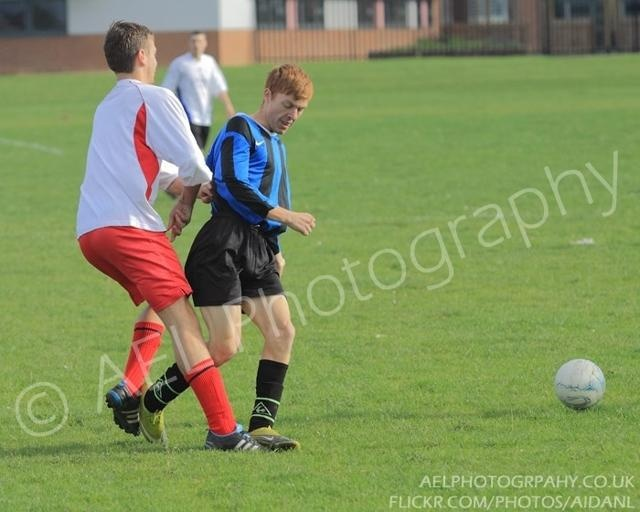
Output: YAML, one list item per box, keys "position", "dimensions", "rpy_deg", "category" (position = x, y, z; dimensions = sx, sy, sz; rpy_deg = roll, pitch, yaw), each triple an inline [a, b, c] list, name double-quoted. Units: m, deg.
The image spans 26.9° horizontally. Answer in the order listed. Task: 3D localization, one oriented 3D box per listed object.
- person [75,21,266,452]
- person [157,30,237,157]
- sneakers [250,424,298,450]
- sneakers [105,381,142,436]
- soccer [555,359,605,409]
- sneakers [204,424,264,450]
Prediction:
- position: [-0.987, -0.130, 8.122]
  dimensions: [0.946, 2.573, 0.491]
  rpy_deg: [-1, 5, 1]
  category: "person"
- position: [-1.336, -1.645, 15.032]
  dimensions: [0.796, 1.658, 0.424]
  rpy_deg: [-1, 20, -4]
  category: "person"
- position: [-0.287, 1.085, 8.145]
  dimensions: [0.301, 0.146, 0.118]
  rpy_deg: [2, 7, 15]
  category: "sneakers"
- position: [-1.202, 0.931, 8.249]
  dimensions: [0.190, 0.388, 0.134]
  rpy_deg: [-10, 31, 7]
  category: "sneakers"
- position: [1.625, 0.791, 8.381]
  dimensions: [0.301, 0.339, 0.317]
  rpy_deg: [5, 11, -1]
  category: "soccer"
- position: [-0.521, 1.101, 8.136]
  dimensions: [0.351, 0.162, 0.130]
  rpy_deg: [5, -1, -1]
  category: "sneakers"
